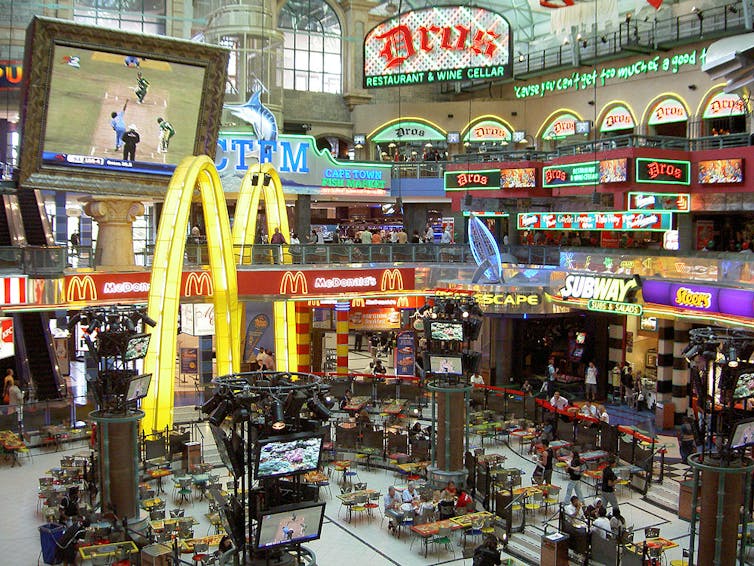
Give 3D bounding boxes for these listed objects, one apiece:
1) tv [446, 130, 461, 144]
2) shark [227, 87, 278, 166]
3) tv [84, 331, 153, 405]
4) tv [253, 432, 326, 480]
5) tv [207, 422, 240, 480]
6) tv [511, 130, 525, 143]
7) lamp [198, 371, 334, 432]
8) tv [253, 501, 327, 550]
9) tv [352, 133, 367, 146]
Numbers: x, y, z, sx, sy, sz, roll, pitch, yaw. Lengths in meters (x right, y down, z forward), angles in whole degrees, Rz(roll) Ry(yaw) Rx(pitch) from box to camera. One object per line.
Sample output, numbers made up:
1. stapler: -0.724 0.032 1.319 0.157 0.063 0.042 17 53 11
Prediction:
1. tv: 3.831 -7.237 34.697 0.545 0.545 0.536 1 -4 -10
2. shark: -5.291 -6.767 30.313 1.872 2.942 1.021 -1 -3 -9
3. tv: -5.867 1.947 15.802 1.328 1.830 1.031 -1 0 -31
4. tv: -1.247 2.433 9.877 1.002 0.638 0.361 0 -3 -26
5. tv: -2.177 2.385 9.989 0.230 0.698 0.976 -19 10 -12
6. tv: 6.906 -7.054 33.789 0.781 0.771 0.431 0 -2 13
7. lamp: -1.668 1.774 10.421 1.805 0.823 1.992 1 -3 -38
8. tv: -1.239 3.427 9.873 0.978 0.612 0.147 1 18 -32
9. tv: -0.931 -7.260 35.165 0.722 0.739 0.564 7 17 28
